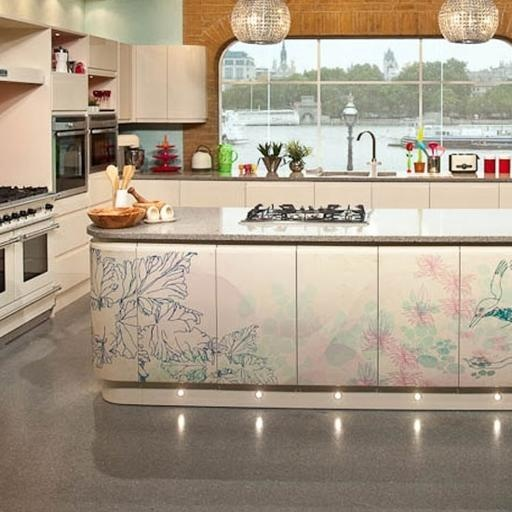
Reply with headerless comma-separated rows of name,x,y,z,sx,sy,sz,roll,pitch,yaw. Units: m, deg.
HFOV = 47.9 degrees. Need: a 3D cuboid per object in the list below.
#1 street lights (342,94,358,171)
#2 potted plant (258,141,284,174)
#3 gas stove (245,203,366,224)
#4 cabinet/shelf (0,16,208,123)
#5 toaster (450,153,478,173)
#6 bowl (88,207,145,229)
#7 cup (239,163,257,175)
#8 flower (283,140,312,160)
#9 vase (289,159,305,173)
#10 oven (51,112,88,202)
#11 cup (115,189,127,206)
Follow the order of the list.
street lights,1.225,-1.607,7.518,0.124,0.970,0.197,5,8,42
potted plant,0.173,-1.041,6.207,0.238,0.369,0.597,0,8,5
gas stove,0.295,-0.252,3.316,0.662,0.078,0.543,1,8,9
cabinet/shelf,-1.240,-1.816,5.749,0.774,0.896,2.148,3,9,22
toaster,2.189,-0.967,6.114,0.302,0.241,0.188,0,2,2
bowl,-0.709,-0.196,2.969,0.284,0.096,0.308,0,8,0
cup,-0.089,-0.934,6.251,0.157,0.122,0.128,2,5,10
flower,0.479,-1.152,6.167,0.320,0.202,0.331,5,-3,-9
vase,0.443,-0.947,6.073,0.134,0.142,0.148,3,9,1
oven,-1.662,-0.849,4.833,0.277,0.673,0.756,4,12,0
cup,-0.714,-0.309,3.068,0.072,0.129,0.078,2,2,0
